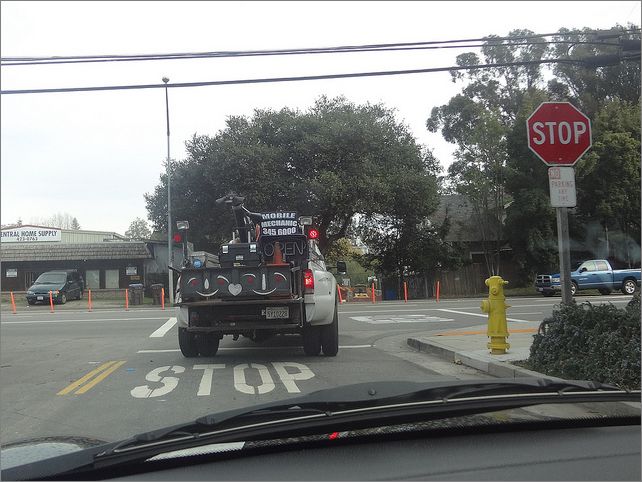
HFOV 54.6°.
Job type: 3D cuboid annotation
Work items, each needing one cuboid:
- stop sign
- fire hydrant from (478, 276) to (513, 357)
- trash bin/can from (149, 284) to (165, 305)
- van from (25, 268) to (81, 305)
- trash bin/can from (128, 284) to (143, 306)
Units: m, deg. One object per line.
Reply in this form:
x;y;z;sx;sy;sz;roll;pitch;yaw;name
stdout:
3.316;-1.539;8.676;0.873;0.670;0.333;-4;-3;1;stop sign
2.952;1.214;10.438;0.443;0.829;1.326;-5;-4;14;fire hydrant
-7.254;2.364;27.493;0.375;0.900;1.452;-3;-4;-20;trash bin/can
-13.723;2.363;32.072;1.505;1.719;3.739;0;-2;-3;van
-8.234;2.397;27.778;0.528;0.929;0.760;-3;-4;-22;trash bin/can
